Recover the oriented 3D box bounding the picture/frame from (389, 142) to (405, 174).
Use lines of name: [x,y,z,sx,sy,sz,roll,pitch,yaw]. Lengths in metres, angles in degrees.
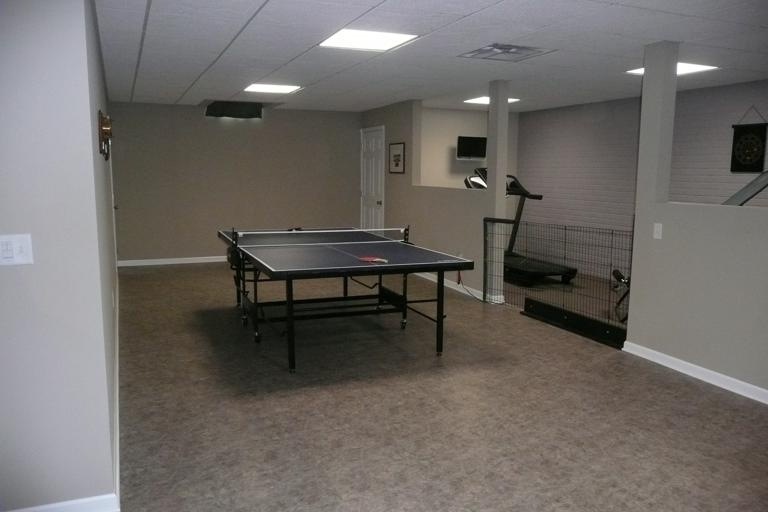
picture/frame: [0.240,-1.780,9.428,0.029,0.611,0.596,-5,10,-27]
